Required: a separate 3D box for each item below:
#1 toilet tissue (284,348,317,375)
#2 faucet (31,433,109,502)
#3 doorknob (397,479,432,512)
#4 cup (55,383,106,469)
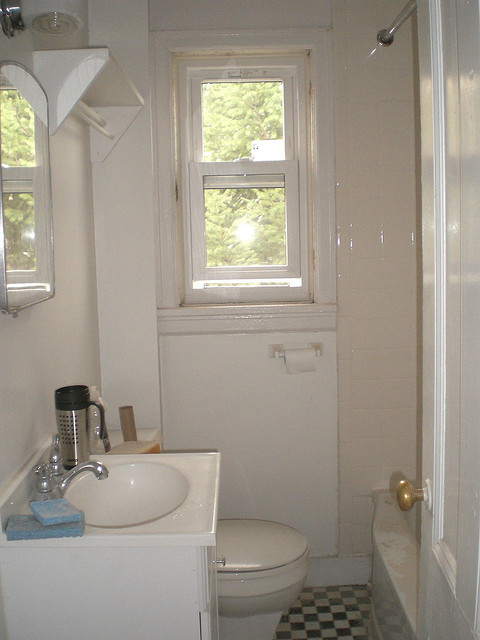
[{"bbox_3d":[0.209,0.137,1.949,0.097,0.094,0.081,0,39,-8],"label":"toilet tissue"},{"bbox_3d":[-0.315,0.303,1.083,0.144,0.079,0.148,-5,0,9],"label":"faucet"},{"bbox_3d":[0.261,0.259,0.852,0.047,0.055,0.044,0,9,4],"label":"doorknob"},{"bbox_3d":[-0.345,0.239,1.215,0.099,0.194,0.092,1,12,0],"label":"cup"}]
